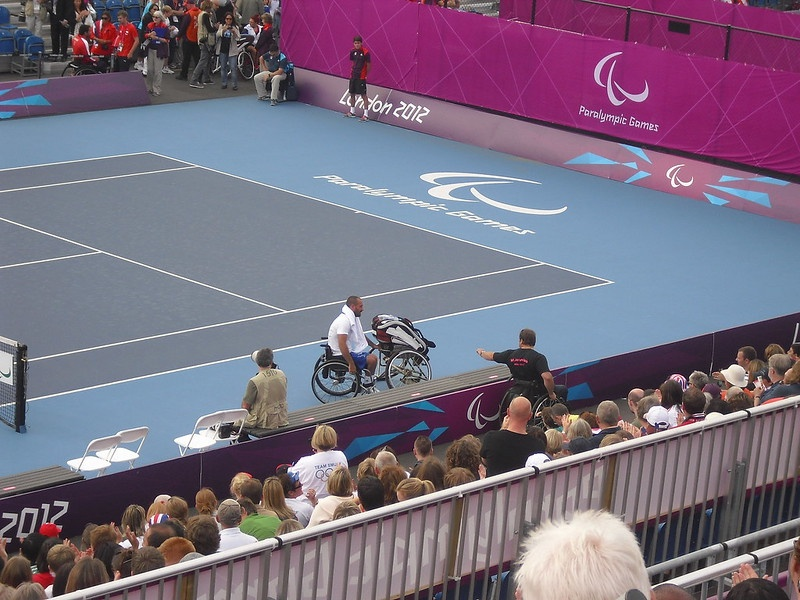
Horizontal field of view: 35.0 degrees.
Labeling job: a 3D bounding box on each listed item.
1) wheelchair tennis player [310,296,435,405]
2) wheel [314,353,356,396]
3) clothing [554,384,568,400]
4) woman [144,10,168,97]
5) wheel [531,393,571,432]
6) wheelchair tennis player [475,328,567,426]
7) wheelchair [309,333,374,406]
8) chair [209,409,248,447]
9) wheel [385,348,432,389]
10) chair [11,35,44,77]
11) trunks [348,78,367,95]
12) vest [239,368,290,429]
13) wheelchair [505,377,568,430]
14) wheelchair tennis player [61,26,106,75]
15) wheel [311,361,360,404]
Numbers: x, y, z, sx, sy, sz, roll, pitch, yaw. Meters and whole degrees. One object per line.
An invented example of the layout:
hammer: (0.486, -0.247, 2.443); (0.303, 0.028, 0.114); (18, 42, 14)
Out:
wheelchair tennis player: (-0.228, 0.824, 20.454); (1.400, 1.260, 0.887); (3, 20, -16)
wheel: (-1.061, 1.216, 20.028); (0.786, 0.785, 0.489); (1, 29, -1)
clothing: (2.364, 1.376, 18.851); (0.269, 0.132, 0.371); (1, -4, 4)
woman: (-7.327, -7.402, 37.757); (0.802, 2.434, 0.789); (12, 17, 19)
wheel: (2.106, 1.616, 17.840); (0.601, 0.552, 0.392); (-6, 0, -16)
wheelchair tennis player: (1.885, 1.256, 19.280); (1.350, 1.691, 1.380); (7, 13, 31)
wheelchair: (-0.864, 1.113, 20.093); (0.940, 1.026, 0.843); (-19, -1, 44)
chair: (-2.428, 1.796, 18.077); (0.466, 0.716, 0.554); (-4, 25, -22)
wheel: (0.117, 1.099, 20.312); (0.776, 0.787, 0.511); (1, 3, -31)
chair: (-10.882, -6.910, 36.805); (1.122, 1.322, 0.995); (3, 23, -25)
trunks: (-1.195, -6.164, 36.398); (0.622, 0.575, 0.368); (4, 24, 8)
vest: (-1.948, 1.450, 18.155); (0.709, 0.720, 0.513); (-9, 20, -27)
wheelchair: (2.059, 1.522, 18.672); (0.837, 0.700, 0.557); (-22, 28, -30)
wheelchair tennis player: (-9.195, -7.278, 36.883); (1.198, 1.514, 0.728); (-28, 49, -33)
wheel: (-1.049, 1.313, 20.059); (0.941, 0.870, 0.501); (3, -2, -14)
